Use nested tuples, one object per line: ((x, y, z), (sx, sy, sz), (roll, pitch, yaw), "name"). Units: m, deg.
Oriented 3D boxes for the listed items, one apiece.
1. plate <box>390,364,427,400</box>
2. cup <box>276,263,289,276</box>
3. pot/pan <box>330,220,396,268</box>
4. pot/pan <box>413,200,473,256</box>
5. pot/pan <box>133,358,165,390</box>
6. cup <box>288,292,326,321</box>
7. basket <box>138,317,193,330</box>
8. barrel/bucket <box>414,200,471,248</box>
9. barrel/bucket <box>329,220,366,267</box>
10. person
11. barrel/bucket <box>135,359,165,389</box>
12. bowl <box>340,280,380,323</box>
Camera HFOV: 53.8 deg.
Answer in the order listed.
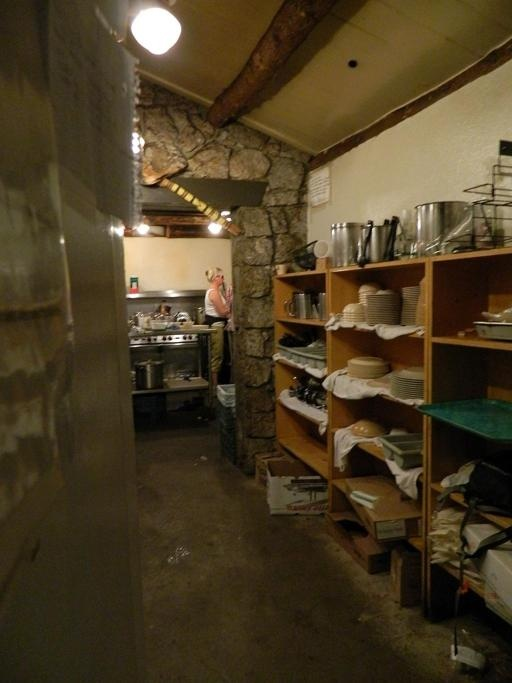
((0.613, 0.164, 2.032), (0.124, 0.055, 0.120), (3, 11, 16), "plate")
((0.167, -0.471, 3.280), (0.086, 0.060, 0.076), (0, 8, 11), "cup")
((0.486, -0.456, 2.378), (0.197, 0.199, 0.326), (-4, 7, -26), "pot/pan")
((0.672, -0.410, 1.870), (0.205, 0.203, 0.205), (-1, 6, 5), "pot/pan")
((-1.109, 0.313, 5.183), (0.284, 0.221, 0.324), (2, 5, 43), "pot/pan")
((0.310, -0.218, 2.983), (0.251, 0.162, 0.147), (5, 7, 35), "cup")
((-1.047, -0.216, 5.707), (0.593, 0.147, 0.573), (-2, 5, 1), "basket")
((0.693, -0.431, 1.860), (0.178, 0.175, 0.183), (-2, 7, 0), "barrel/bucket")
((0.436, -0.481, 2.487), (0.225, 0.225, 0.213), (0, 5, 0), "barrel/bucket")
((-0.465, -0.174, 6.081), (0.329, 1.389, 0.683), (-3, 5, -6), "person")
((-1.126, 0.326, 5.192), (0.277, 0.215, 0.317), (2, 4, 44), "barrel/bucket")
((0.498, -0.188, 2.457), (0.192, 0.179, 0.175), (-3, 8, -7), "bowl")
